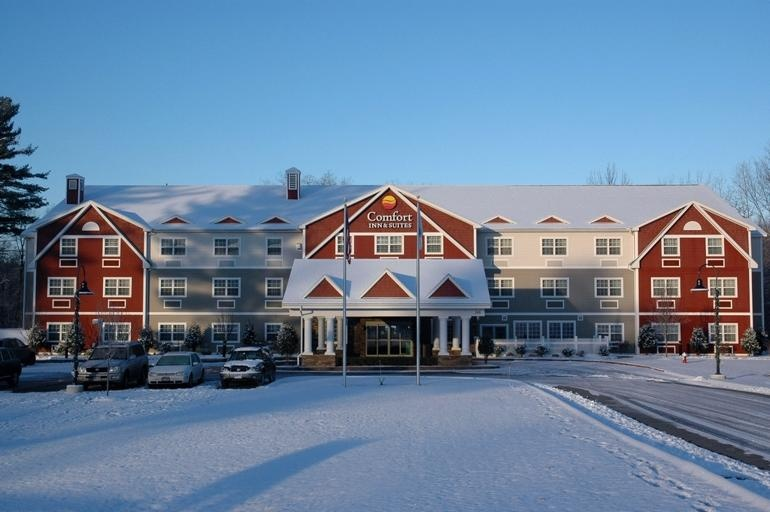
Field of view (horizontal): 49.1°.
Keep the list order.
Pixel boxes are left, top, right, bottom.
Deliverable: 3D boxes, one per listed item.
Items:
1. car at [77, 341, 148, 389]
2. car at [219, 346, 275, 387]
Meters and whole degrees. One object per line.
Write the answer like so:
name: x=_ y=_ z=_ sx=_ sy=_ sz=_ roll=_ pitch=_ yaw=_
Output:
car: x=-14.456 y=5.854 z=45.886 sx=2.360 sy=2.059 sz=5.653 roll=0 pitch=-2 yaw=-1
car: x=-7.405 y=6.058 z=46.076 sx=2.073 sy=1.655 sz=4.473 roll=0 pitch=-2 yaw=0
